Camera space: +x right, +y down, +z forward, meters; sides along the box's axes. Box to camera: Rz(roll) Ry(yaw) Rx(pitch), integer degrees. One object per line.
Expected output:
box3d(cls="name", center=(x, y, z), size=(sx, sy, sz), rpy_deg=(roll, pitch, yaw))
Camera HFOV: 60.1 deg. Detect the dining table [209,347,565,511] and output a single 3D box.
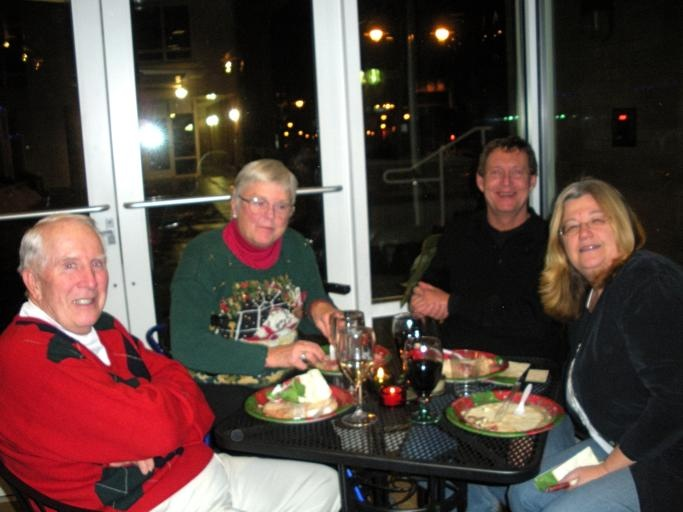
box3d(cls="dining table", center=(0.134, 0.536, 1.698), size=(0.619, 0.317, 0.567), rpy_deg=(2, 9, 18))
